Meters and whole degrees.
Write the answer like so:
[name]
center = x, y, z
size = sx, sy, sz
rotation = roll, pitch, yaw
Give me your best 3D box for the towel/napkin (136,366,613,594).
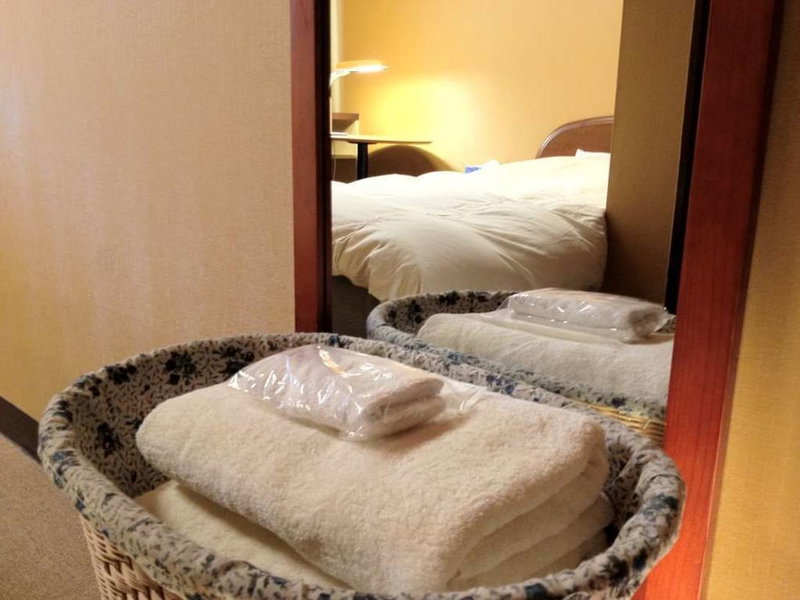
[towel/napkin]
center = -0.044, 0.166, 0.738
size = 0.434, 0.125, 0.272
rotation = 13, 20, 41
